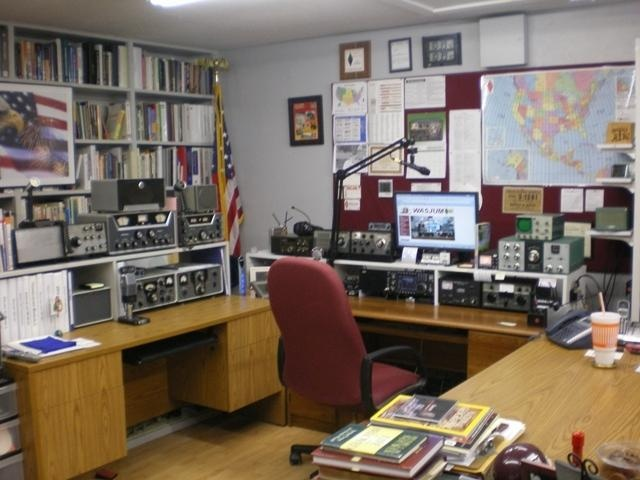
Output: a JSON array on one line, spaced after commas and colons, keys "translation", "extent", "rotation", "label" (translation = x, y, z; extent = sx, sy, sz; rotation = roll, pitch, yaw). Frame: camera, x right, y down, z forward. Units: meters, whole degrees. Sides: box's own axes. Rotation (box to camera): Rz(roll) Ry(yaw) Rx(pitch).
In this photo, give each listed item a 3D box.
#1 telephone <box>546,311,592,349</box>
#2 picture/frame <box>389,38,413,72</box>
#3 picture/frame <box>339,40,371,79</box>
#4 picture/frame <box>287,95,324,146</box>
[{"translation": [1.297, 0.465, 2.711], "extent": [0.209, 0.071, 0.157], "rotation": [-22, 14, -28], "label": "telephone"}, {"translation": [0.673, -1.538, 4.379], "extent": [0.267, 0.360, 0.034], "rotation": [2, 5, 33], "label": "picture/frame"}, {"translation": [0.311, -1.565, 4.568], "extent": [0.324, 0.348, 0.033], "rotation": [3, 5, 31], "label": "picture/frame"}, {"translation": [-0.123, -1.107, 4.852], "extent": [0.427, 0.541, 0.036], "rotation": [4, 9, 34], "label": "picture/frame"}]
